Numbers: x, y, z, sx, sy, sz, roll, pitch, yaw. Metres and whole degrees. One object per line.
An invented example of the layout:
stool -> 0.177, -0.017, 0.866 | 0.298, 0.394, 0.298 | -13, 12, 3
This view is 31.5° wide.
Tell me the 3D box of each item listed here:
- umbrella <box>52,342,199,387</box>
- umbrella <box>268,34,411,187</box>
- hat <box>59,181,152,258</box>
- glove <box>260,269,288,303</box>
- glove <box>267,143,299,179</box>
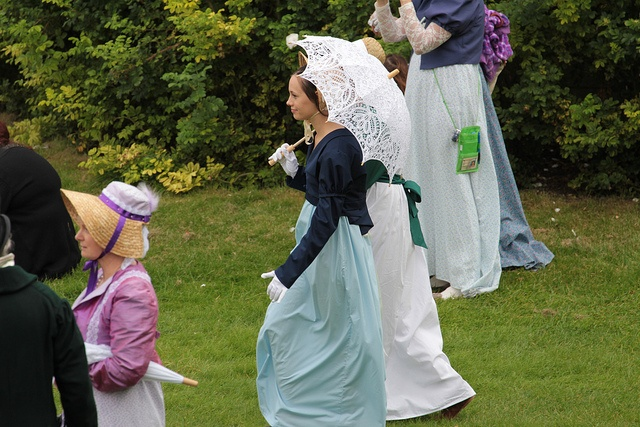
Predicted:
umbrella -> -1.808, 1.373, 10.290 | 0.977, 0.222, 0.229 | 23, -32, -8
umbrella -> 0.064, -0.946, 10.994 | 0.549, 1.254, 1.309 | -18, 4, 34
hat -> -1.900, -0.011, 10.507 | 0.868, 0.524, 0.589 | 24, -3, -17
glove -> -0.423, 0.694, 10.758 | 0.236, 0.316, 0.265 | -1, 5, -1
glove -> -0.331, -0.535, 11.221 | 0.313, 0.292, 0.125 | 9, 29, 9
